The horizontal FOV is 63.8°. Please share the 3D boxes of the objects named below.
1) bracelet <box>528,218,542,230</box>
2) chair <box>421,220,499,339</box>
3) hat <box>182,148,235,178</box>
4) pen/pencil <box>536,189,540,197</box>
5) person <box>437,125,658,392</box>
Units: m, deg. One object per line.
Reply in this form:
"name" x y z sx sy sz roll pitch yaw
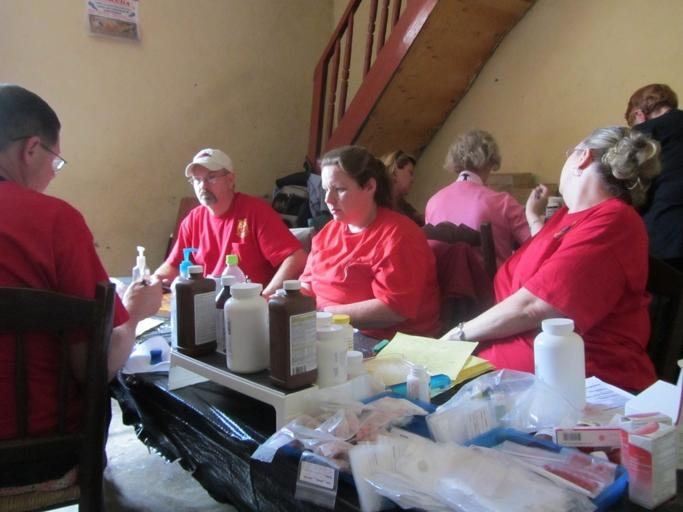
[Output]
"bracelet" 0.905 -0.141 2.580 0.057 0.063 0.059 -6 10 -8
"chair" 0.532 0.072 2.353 0.348 0.696 0.404 -2 0 17
"hat" -0.672 -0.482 2.769 0.210 0.162 0.260 -1 -3 -23
"pen/pencil" 0.957 -0.304 2.669 0.023 0.034 0.010 -12 6 -21
"person" 0.696 0.012 1.726 0.553 0.789 0.441 -3 -3 32
